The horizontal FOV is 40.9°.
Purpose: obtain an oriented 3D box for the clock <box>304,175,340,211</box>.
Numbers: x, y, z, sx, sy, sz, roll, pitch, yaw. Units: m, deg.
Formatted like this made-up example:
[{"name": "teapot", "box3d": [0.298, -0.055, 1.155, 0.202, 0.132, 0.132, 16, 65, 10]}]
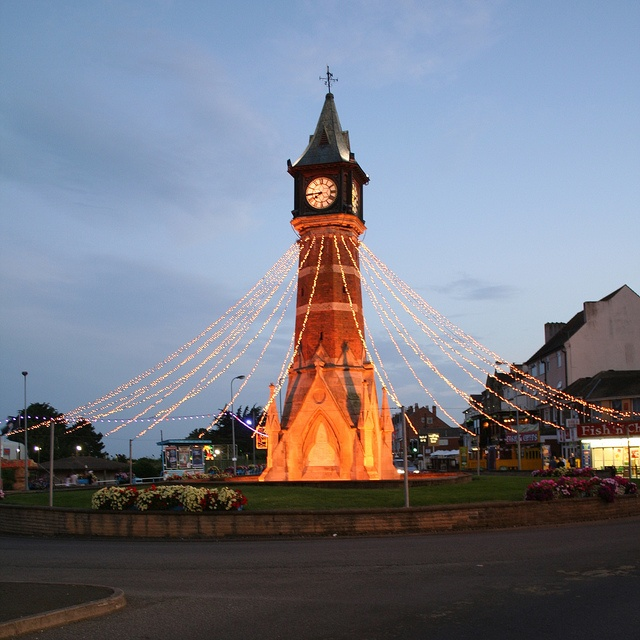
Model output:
[{"name": "clock", "box3d": [0.120, -6.812, 46.424, 2.560, 2.024, 0.135, -3, -17, 8]}]
